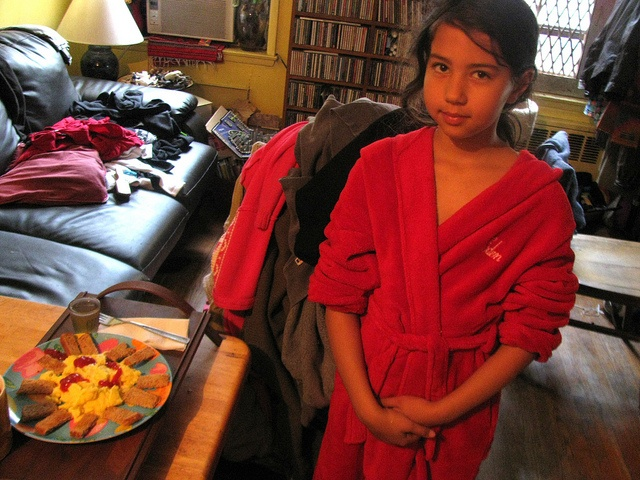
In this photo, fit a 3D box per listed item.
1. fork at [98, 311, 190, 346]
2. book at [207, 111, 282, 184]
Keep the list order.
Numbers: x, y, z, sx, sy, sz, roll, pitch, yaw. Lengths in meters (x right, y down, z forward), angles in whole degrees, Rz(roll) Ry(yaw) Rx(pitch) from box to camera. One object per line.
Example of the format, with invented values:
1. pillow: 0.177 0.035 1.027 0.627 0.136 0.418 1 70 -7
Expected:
1. fork: -0.459 0.230 1.135 0.182 0.015 0.027 19 51 10
2. book: -0.617 -0.696 3.238 0.425 0.541 0.666 -1 26 -13
